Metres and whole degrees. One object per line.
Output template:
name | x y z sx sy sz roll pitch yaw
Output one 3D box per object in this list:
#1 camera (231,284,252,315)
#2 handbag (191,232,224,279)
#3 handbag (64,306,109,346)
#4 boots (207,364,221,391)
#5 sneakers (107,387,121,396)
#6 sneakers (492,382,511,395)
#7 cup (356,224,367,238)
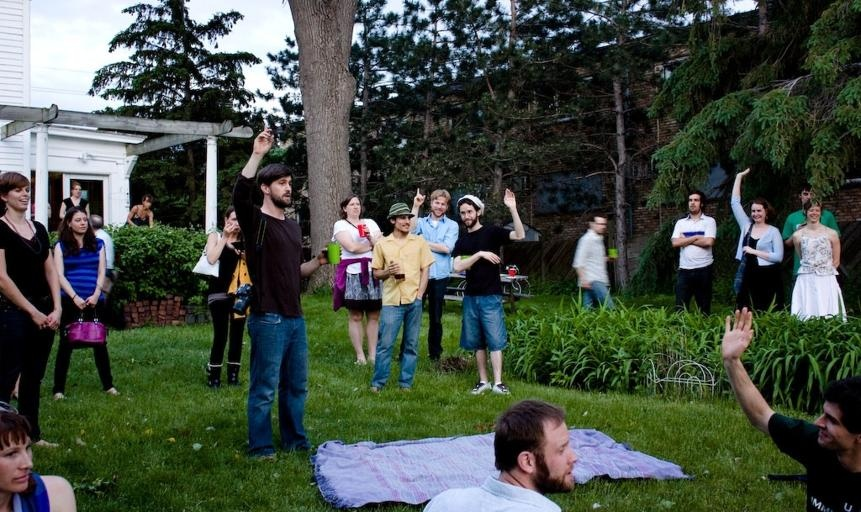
camera | -2.879 0.672 13.590 0.229 0.571 0.228 -10 -31 -4
handbag | -4.134 0.031 16.139 0.684 0.951 0.272 25 18 27
handbag | -5.576 1.129 14.067 0.558 0.765 0.289 3 -16 -21
boots | -3.689 2.048 14.846 0.260 0.418 0.343 -1 8 -28
sneakers | -5.253 2.269 14.557 0.261 0.123 0.100 4 12 19
sneakers | 1.199 2.218 14.576 0.134 0.138 0.308 1 -4 -30
cup | -1.217 -0.430 15.387 0.143 0.219 0.137 -24 -14 -7
